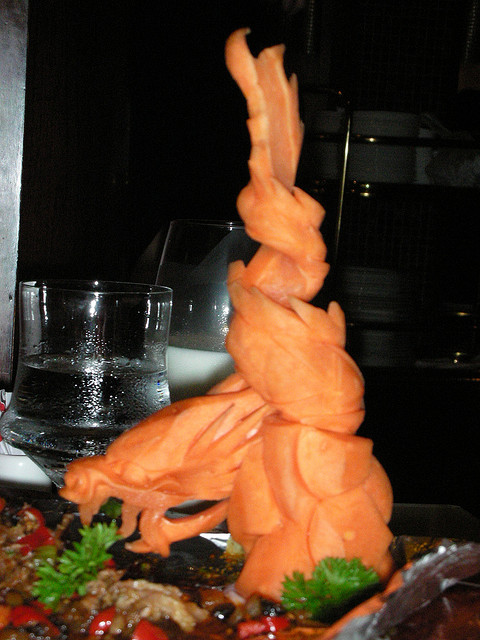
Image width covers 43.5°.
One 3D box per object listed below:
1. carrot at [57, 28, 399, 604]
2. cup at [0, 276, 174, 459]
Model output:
[{"bbox_3d":[0.003,-0.001,0.232,0.114,0.221,0.094,-10,18,-40],"label":"carrot"},{"bbox_3d":[-0.073,0.027,0.407,0.118,0.117,0.112,4,4,0],"label":"cup"}]
